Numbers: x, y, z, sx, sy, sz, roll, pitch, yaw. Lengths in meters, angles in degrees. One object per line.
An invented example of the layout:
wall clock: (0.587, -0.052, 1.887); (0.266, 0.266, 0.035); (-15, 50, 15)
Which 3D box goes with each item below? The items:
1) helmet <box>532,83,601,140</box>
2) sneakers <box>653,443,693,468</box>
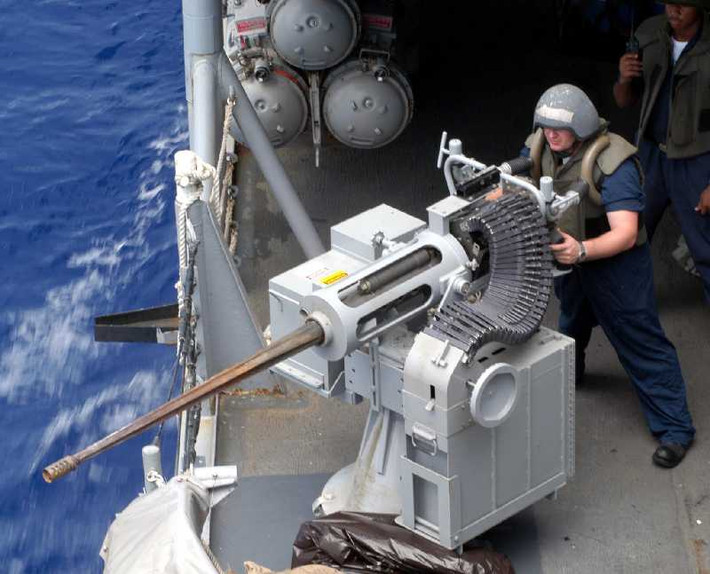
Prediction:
helmet: (1.426, -1.181, 6.002); (0.378, 0.365, 0.315); (-18, 17, -21)
sneakers: (2.248, 1.168, 6.431); (0.283, 0.124, 0.117); (-30, 56, -19)
